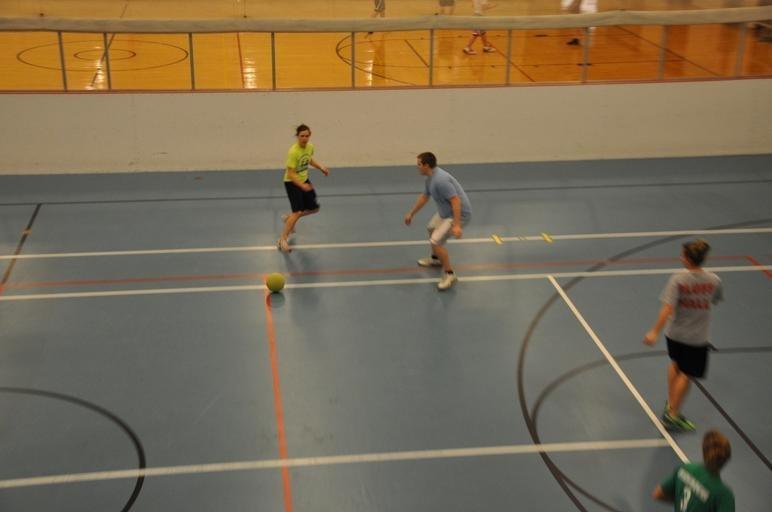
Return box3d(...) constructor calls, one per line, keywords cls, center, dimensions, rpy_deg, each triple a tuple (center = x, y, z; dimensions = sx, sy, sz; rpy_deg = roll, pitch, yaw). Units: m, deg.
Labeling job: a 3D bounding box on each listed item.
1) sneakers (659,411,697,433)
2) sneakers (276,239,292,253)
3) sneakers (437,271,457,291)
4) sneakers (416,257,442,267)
box3d(cls="sneakers", center=(3.784, 2.181, 7.713), dimensions=(0.414, 0.177, 0.171), rpy_deg=(32, -79, 16))
box3d(cls="sneakers", center=(-1.926, -0.183, 11.142), dimensions=(0.094, 0.137, 0.221), rpy_deg=(45, -33, 8))
box3d(cls="sneakers", center=(1.027, 0.410, 10.165), dimensions=(0.171, 0.475, 0.222), rpy_deg=(11, -62, 29))
box3d(cls="sneakers", center=(0.777, 0.114, 10.735), dimensions=(0.462, 0.171, 0.201), rpy_deg=(4, -58, 2))
